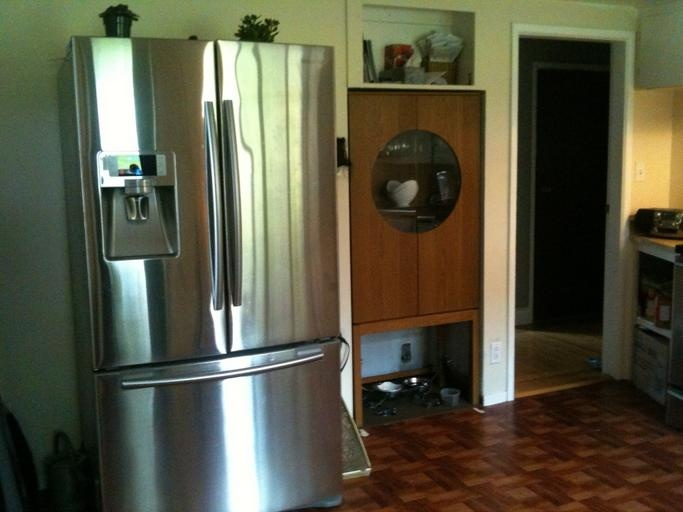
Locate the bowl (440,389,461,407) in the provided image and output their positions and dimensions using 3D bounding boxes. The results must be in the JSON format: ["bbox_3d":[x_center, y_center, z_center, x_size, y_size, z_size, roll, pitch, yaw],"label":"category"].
[{"bbox_3d":[0.765,0.981,4.355,0.113,0.072,0.112,0,0,0],"label":"bowl"}]
